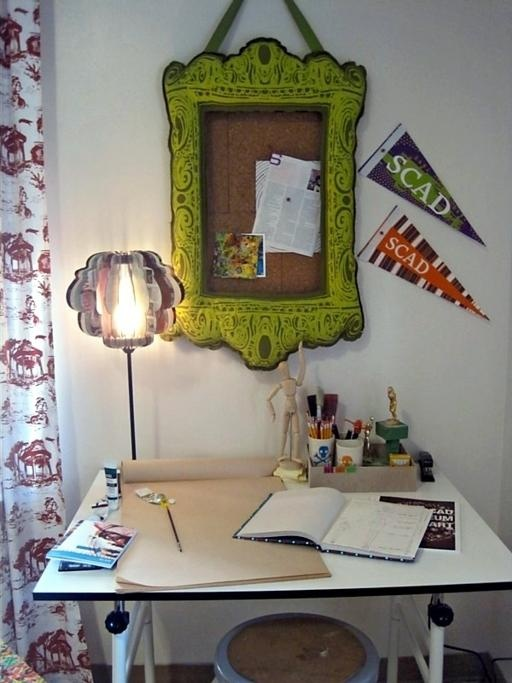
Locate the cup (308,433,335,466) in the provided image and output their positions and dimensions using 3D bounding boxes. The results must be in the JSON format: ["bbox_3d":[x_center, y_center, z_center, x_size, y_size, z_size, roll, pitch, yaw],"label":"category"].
[{"bbox_3d":[0.161,0.270,1.666,0.071,0.067,0.062,4,13,16],"label":"cup"}]

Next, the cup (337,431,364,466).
[{"bbox_3d":[0.238,0.276,1.640,0.047,0.065,0.075,-1,8,5],"label":"cup"}]

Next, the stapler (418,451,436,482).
[{"bbox_3d":[0.444,0.323,1.696,0.027,0.038,0.091,-2,5,7],"label":"stapler"}]

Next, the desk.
[{"bbox_3d":[0.046,0.551,1.476,0.912,0.417,0.604,0,10,-2],"label":"desk"}]

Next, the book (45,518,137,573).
[{"bbox_3d":[-0.321,0.404,1.299,0.179,0.025,0.165,4,13,16],"label":"book"}]

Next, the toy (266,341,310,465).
[{"bbox_3d":[0.079,0.165,1.747,0.098,0.329,0.170,1,11,4],"label":"toy"}]
